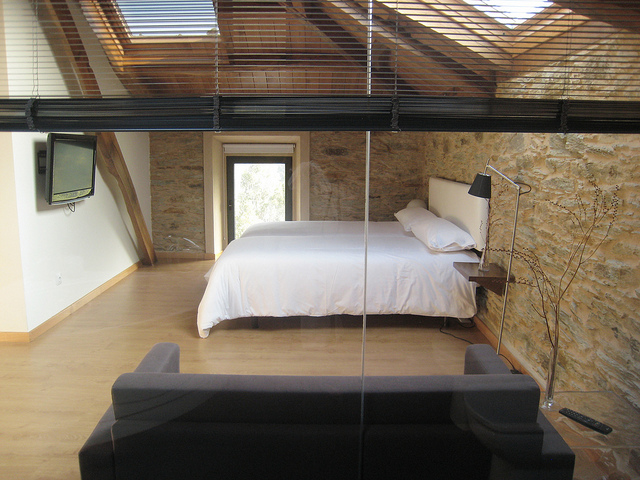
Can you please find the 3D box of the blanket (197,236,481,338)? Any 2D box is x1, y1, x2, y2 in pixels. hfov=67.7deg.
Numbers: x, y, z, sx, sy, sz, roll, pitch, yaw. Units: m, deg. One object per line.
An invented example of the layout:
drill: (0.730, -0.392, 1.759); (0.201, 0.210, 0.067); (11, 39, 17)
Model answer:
blanket: (0.084, 0.197, 2.031); (1.189, 0.452, 0.135); (2, 15, -2)

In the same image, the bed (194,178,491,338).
bed: (0.118, 0.089, 2.107); (1.039, 0.387, 0.733); (2, 15, 1)

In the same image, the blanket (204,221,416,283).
blanket: (0.226, -0.006, 2.412); (1.096, 0.174, 1.197); (4, 5, 0)

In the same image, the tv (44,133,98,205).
tv: (-1.160, -0.318, 2.238); (0.204, 0.342, 0.383); (-5, 15, -28)

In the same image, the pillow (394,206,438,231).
pillow: (0.385, -0.096, 2.017); (0.122, 0.034, 0.110); (-23, 55, 1)

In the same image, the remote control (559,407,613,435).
remote control: (1.094, 0.755, 2.018); (0.227, 0.022, 0.091); (6, 9, 30)
